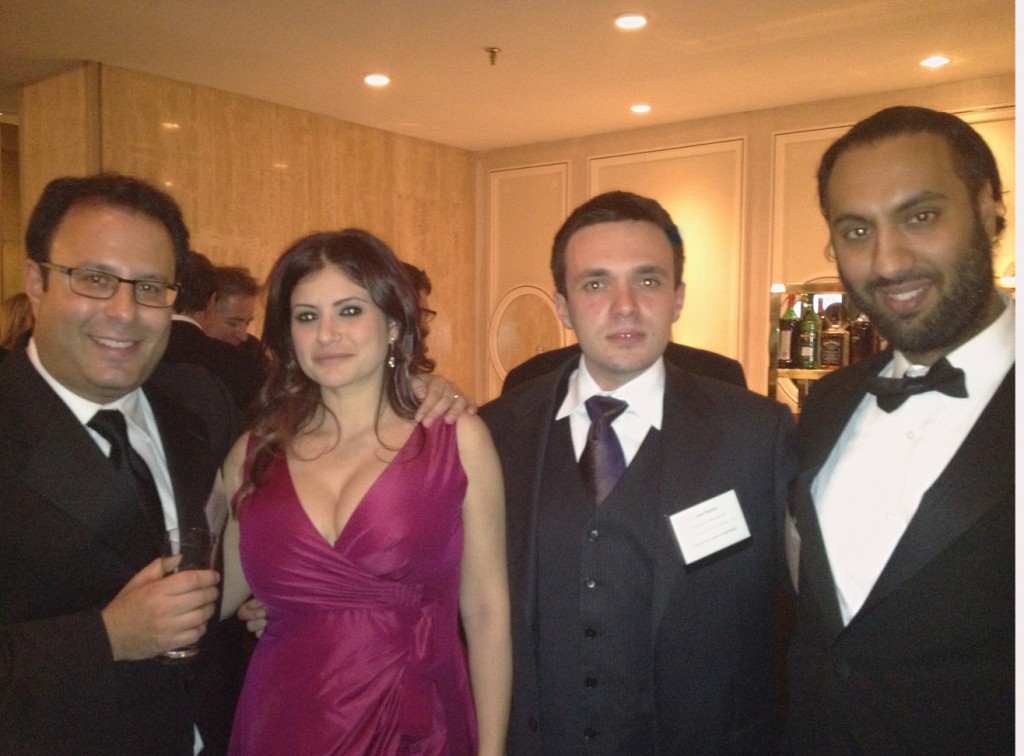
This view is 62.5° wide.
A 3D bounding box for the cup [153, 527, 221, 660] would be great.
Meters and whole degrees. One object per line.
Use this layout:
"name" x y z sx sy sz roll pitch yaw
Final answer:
"cup" -0.893 0.603 2.322 0.125 0.361 0.144 -1 0 -39
